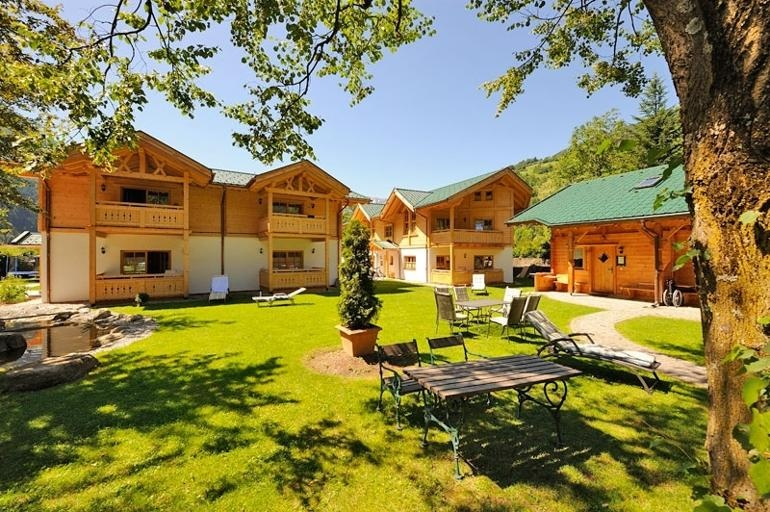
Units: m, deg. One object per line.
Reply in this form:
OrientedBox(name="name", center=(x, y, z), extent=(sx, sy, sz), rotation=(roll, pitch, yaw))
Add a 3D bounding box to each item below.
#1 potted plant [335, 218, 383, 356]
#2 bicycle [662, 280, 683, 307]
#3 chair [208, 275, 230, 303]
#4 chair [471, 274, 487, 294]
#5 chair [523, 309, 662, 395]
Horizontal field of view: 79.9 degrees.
OrientedBox(name="potted plant", center=(-0.688, 0.846, 12.042), extent=(1.090, 3.557, 0.851), rotation=(0, 6, -1))
OrientedBox(name="bicycle", center=(12.099, 1.645, 19.269), extent=(1.201, 0.753, 0.594), rotation=(7, -10, -37))
OrientedBox(name="chair", center=(-7.582, 1.482, 21.052), extent=(0.853, 0.888, 1.332), rotation=(0, 3, -15))
OrientedBox(name="chair", center=(4.974, 1.489, 24.071), extent=(0.867, 1.034, 1.162), rotation=(0, -1, 10))
OrientedBox(name="chair", center=(5.214, 2.293, 11.677), extent=(1.588, 1.411, 3.026), rotation=(-2, 2, -44))
